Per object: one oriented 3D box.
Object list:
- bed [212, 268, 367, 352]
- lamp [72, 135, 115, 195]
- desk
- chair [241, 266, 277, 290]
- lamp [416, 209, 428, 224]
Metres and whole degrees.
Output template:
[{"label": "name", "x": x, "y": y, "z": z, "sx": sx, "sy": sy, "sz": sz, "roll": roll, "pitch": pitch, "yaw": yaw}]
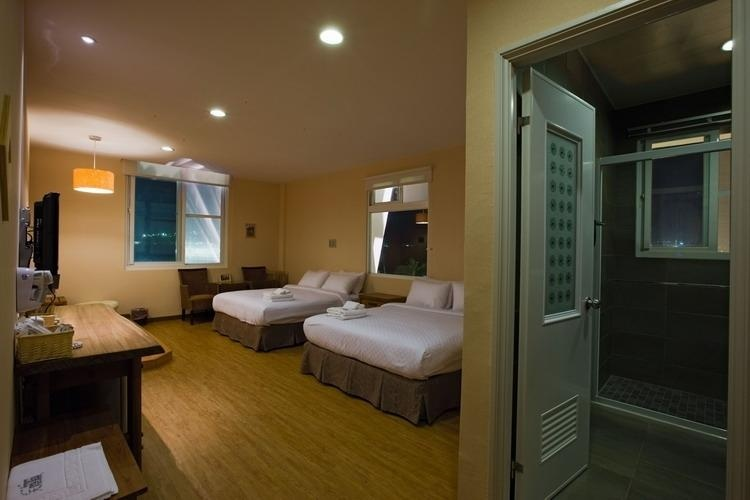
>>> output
[{"label": "bed", "x": -1.230, "y": 0.904, "z": 7.377, "sx": 1.416, "sy": 0.698, "sz": 1.467, "roll": 2, "pitch": -3, "yaw": -37}, {"label": "lamp", "x": -4.197, "y": -1.228, "z": 7.244, "sx": 0.530, "sy": 0.765, "sz": 1.514, "roll": -3, "pitch": 3, "yaw": -27}, {"label": "desk", "x": -2.749, "y": 1.149, "z": 4.565, "sx": 0.970, "sy": 1.081, "sz": 2.121, "roll": 3, "pitch": 3, "yaw": -40}, {"label": "chair", "x": -2.270, "y": 0.539, "z": 9.509, "sx": 0.378, "sy": 0.504, "sz": 0.700, "roll": -5, "pitch": -4, "yaw": 39}, {"label": "lamp", "x": 0.747, "y": -0.522, "z": 7.606, "sx": 0.186, "sy": 0.220, "sz": 0.192, "roll": 3, "pitch": 3, "yaw": 22}]
